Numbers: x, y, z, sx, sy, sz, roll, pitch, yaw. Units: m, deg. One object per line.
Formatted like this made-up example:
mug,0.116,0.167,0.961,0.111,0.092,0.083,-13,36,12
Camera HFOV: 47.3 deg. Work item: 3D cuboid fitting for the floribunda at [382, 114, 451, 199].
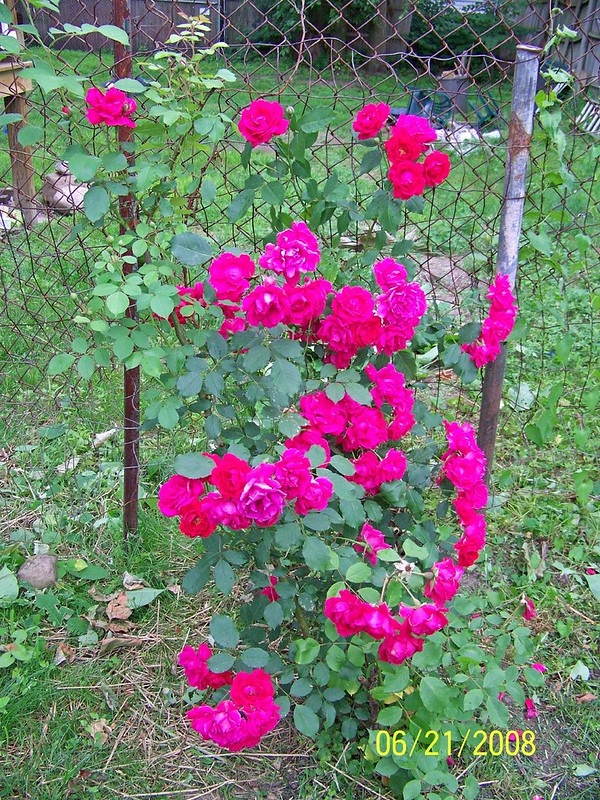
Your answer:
floribunda,0.264,-0.543,1.534,0.148,0.175,0.157,7,23,7

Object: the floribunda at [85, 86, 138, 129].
floribunda,-0.411,-0.645,1.508,0.089,0.076,0.142,11,23,15

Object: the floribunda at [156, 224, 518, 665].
floribunda,0.098,0.138,1.430,0.701,0.975,0.713,3,24,-3

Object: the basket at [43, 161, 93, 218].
basket,-1.515,-1.322,4.252,0.130,0.364,0.292,22,27,6
